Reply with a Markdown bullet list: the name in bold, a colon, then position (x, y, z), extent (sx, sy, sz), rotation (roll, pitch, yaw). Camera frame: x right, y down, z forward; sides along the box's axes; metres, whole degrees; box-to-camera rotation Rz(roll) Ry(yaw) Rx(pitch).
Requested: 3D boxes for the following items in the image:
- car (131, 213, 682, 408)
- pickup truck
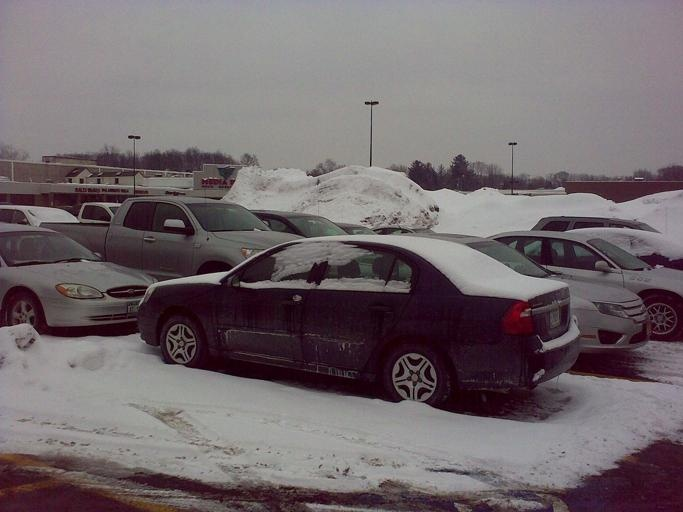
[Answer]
- **car**: position (0.302, 0.530, 8.241), extent (4.404, 1.564, 2.101), rotation (4, 3, 24)
- **pickup truck**: position (-2.906, -0.312, 11.915), extent (3.379, 1.252, 1.603), rotation (1, 3, 22)
